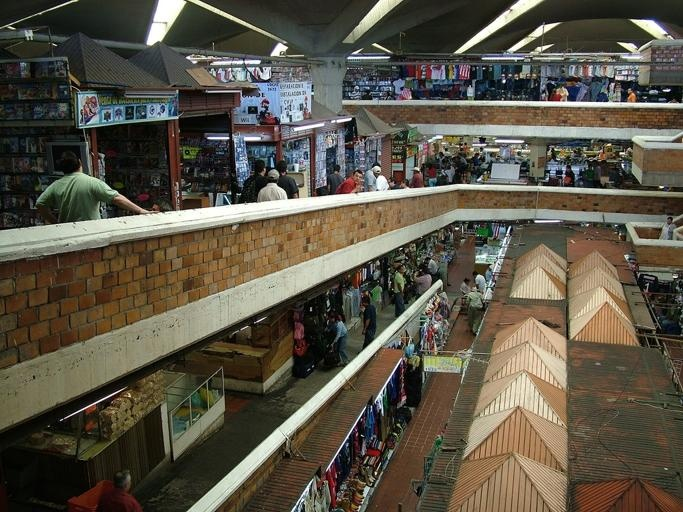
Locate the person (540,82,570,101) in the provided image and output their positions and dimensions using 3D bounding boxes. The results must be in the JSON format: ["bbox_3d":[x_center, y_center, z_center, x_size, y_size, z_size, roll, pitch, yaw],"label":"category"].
[{"bbox_3d":[8.820,-6.833,22.611,0.991,0.823,0.393,-4,12,13],"label":"person"}]

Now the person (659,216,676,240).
[{"bbox_3d":[9.206,-0.698,15.474,0.371,0.684,1.590,1,14,30],"label":"person"}]

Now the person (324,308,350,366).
[{"bbox_3d":[-0.135,1.780,12.056,0.491,1.253,0.827,-7,12,-3],"label":"person"}]

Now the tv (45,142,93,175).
[{"bbox_3d":[-3.393,-1.229,6.880,0.510,0.447,0.299,2,4,-14],"label":"tv"}]

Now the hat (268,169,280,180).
[{"bbox_3d":[-1.037,-1.213,8.222,0.138,0.144,0.183,12,26,28],"label":"hat"}]

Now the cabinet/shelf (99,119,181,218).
[{"bbox_3d":[-3.889,-1.492,9.566,0.919,1.554,1.637,1,8,41],"label":"cabinet/shelf"}]

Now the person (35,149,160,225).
[{"bbox_3d":[-2.410,-0.641,4.988,0.742,0.622,0.281,-4,12,12],"label":"person"}]

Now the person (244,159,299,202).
[{"bbox_3d":[-1.132,-1.204,8.682,0.800,0.620,1.331,-11,13,-21],"label":"person"}]
